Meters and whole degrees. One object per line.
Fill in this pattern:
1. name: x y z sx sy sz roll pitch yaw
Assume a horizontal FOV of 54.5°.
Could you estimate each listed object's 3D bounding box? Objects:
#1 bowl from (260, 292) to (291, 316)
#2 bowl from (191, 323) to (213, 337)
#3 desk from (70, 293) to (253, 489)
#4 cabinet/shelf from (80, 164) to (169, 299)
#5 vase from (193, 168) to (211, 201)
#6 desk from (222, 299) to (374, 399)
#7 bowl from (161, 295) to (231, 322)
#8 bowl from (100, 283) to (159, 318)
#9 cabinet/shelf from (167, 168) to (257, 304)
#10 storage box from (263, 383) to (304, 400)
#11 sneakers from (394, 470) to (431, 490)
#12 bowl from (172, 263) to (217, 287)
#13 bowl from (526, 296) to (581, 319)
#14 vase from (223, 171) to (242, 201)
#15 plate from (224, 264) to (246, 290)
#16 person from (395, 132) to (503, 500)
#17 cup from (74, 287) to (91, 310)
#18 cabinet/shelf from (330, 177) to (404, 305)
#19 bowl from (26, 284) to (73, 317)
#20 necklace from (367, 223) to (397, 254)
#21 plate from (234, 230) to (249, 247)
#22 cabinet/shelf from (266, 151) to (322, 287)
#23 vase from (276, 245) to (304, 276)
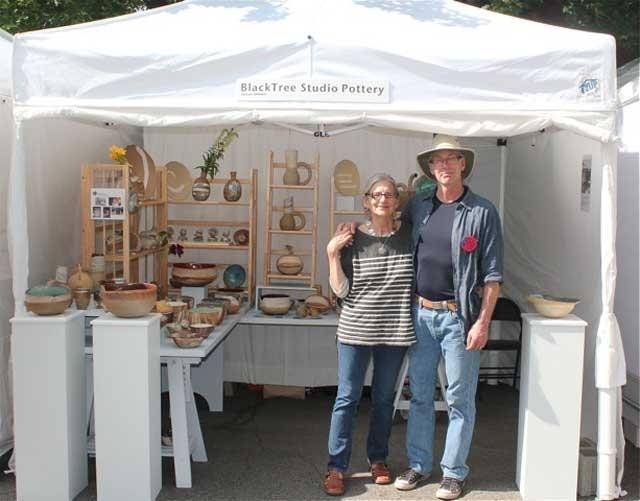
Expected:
1. bowl: -0.402 0.467 5.441 0.264 0.147 0.323 0 7 -9
2. bowl: -0.860 0.565 4.456 0.104 0.052 0.107 2 0 0
3. desk: -1.070 0.972 4.431 0.631 1.182 1.163 2 7 9
4. cabinet/shelf: -1.554 -0.165 4.883 0.315 1.081 1.101 -1 3 -1
5. vase: -1.063 -0.591 5.575 0.182 0.293 0.159 -4 8 -31
6. desk: -0.379 0.868 6.049 0.960 0.492 0.980 1 2 3
7. bowl: -0.970 0.461 4.731 0.342 0.122 0.246 2 0 5
8. bowl: -1.261 0.329 4.128 0.351 0.215 0.379 2 7 0
9. cabinet/shelf: -0.989 -0.153 5.674 1.216 1.460 0.409 0 -2 2
10. storage box: -0.343 1.345 5.947 0.408 0.098 0.109 1 7 -1
11. sneakers: 0.641 1.561 4.270 0.248 0.096 0.094 5 -6 -38
12. bowl: -1.084 0.206 5.336 0.248 0.120 0.249 0 5 0
13. bowl: 1.571 0.370 4.162 0.211 0.085 0.193 -1 -1 0
14. vase: -0.797 -0.577 5.614 0.151 0.263 0.135 -1 7 -12
15. plate: -0.743 0.234 5.677 0.173 0.233 0.354 3 7 20
16. person: 0.854 0.432 4.130 0.644 2.377 0.400 2 7 14
17. cup: -1.689 0.343 4.429 0.134 0.156 0.134 0 1 0
18. cabinet/shelf: 0.287 -0.093 4.104 0.442 0.791 0.293 1 7 8
19. bowl: -1.771 0.318 4.041 0.216 0.158 0.194 2 3 13
20. necklace: 0.406 -0.072 4.049 0.186 0.204 0.030 1 -11 8
21. plate: -0.721 -0.123 5.653 0.132 0.135 0.110 0 7 -2
22. cabinet/shelf: -0.272 -0.285 5.774 0.522 1.242 0.829 0 7 -1
23. vase: -0.260 0.092 5.548 0.242 0.331 0.259 0 -2 0
